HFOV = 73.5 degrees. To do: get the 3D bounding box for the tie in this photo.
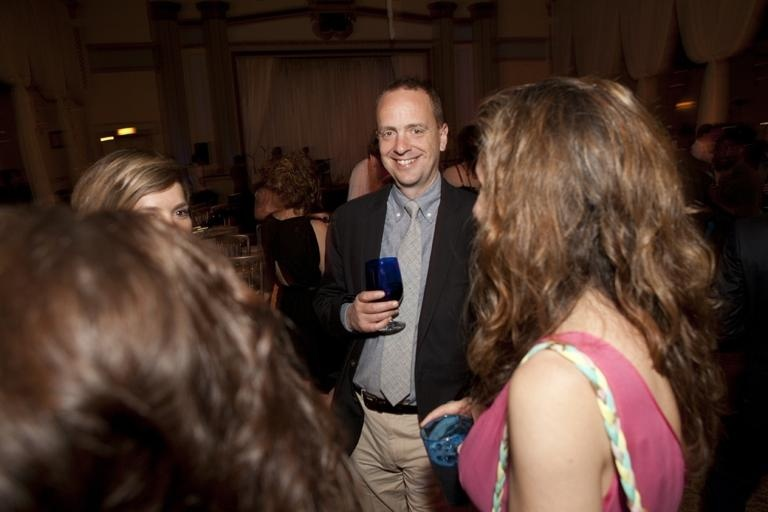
[{"bbox_3d":[0.125,0.121,2.173,0.236,0.084,1.020,16,53,-17],"label":"tie"}]
